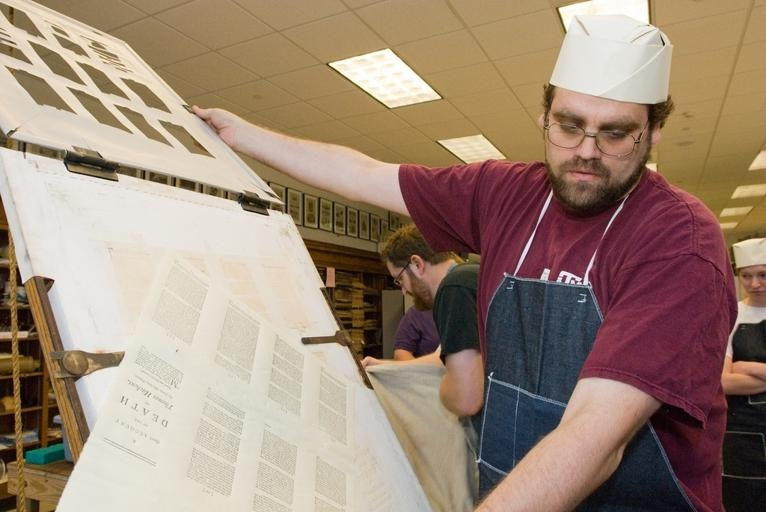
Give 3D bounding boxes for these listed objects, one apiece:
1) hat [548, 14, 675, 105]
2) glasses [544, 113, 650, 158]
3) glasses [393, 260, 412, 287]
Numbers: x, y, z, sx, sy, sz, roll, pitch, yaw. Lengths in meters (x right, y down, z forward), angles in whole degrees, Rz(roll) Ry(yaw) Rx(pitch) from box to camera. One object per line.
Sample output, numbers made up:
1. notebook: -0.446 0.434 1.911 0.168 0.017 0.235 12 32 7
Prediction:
1. hat: 0.543 -0.435 1.317 0.268 0.139 0.255 -7 25 -17
2. glasses: 0.486 -0.276 1.274 0.212 0.124 0.054 -6 -7 21
3. glasses: 0.076 0.079 2.556 0.030 0.102 0.102 10 -11 -1
